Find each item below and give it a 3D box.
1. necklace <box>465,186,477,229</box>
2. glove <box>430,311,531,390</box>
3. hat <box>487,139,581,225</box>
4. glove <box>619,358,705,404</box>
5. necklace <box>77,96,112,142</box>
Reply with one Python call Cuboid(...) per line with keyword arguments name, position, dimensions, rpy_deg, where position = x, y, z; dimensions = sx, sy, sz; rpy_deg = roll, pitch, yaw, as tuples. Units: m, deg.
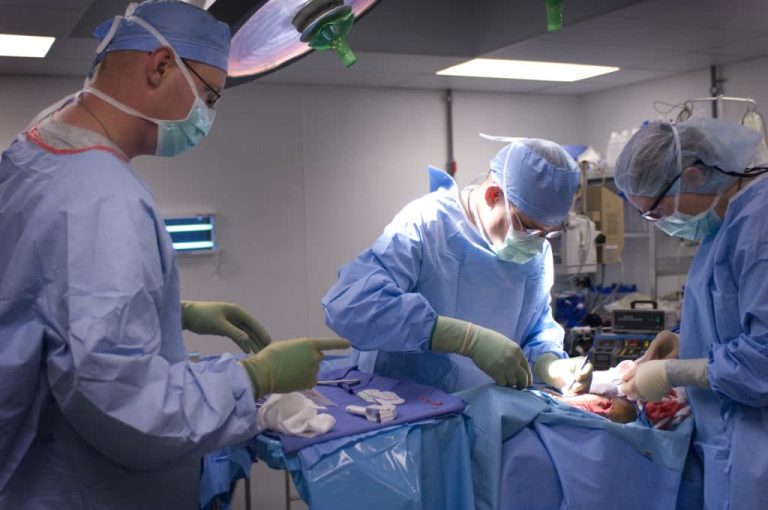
Cuboid(name="necklace", position=(0.388, -0.217, 3.095), dimensions=(0.031, 0.145, 0.099), rpy_deg=(6, -21, -22))
Cuboid(name="glove", position=(0.383, 0.377, 2.760), dimensions=(0.326, 0.130, 0.260), rpy_deg=(26, -1, 6))
Cuboid(name="hat", position=(0.605, -0.330, 2.985), dimensions=(0.268, 0.224, 0.404), rpy_deg=(-19, 51, -39))
Cuboid(name="glove", position=(1.091, 0.491, 2.683), dimensions=(0.096, 0.111, 0.332), rpy_deg=(-24, 3, -37))
Cuboid(name="necklace", position=(-0.915, -0.425, 2.220), dimensions=(0.024, 0.119, 0.084), rpy_deg=(-40, 11, -23))
